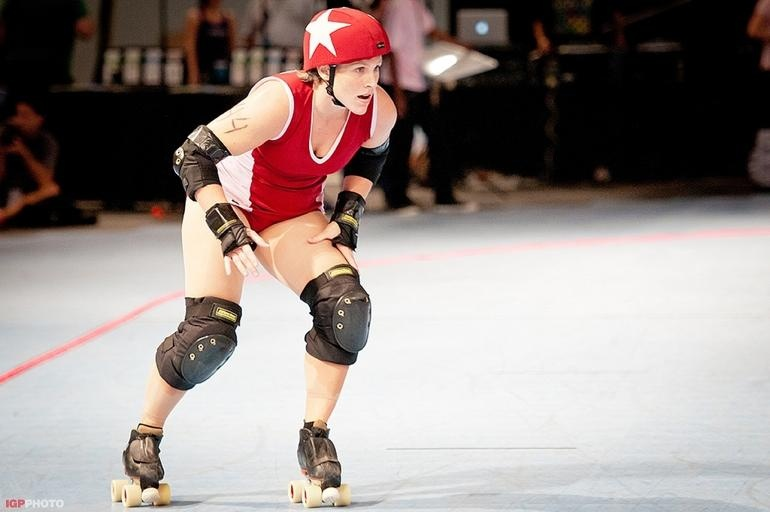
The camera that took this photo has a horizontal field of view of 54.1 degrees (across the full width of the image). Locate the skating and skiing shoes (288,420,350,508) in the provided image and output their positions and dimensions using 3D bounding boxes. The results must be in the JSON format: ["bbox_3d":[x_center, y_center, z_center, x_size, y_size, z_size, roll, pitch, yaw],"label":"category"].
[{"bbox_3d":[-0.208,0.664,2.421,0.188,0.205,0.377,0,13,-5],"label":"skating and skiing shoes"}]

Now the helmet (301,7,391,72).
[{"bbox_3d":[-0.137,-0.732,2.511,0.233,0.140,0.224,15,26,28],"label":"helmet"}]

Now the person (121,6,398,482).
[{"bbox_3d":[-0.399,-0.060,2.598,0.831,1.567,0.725,2,9,1],"label":"person"}]
